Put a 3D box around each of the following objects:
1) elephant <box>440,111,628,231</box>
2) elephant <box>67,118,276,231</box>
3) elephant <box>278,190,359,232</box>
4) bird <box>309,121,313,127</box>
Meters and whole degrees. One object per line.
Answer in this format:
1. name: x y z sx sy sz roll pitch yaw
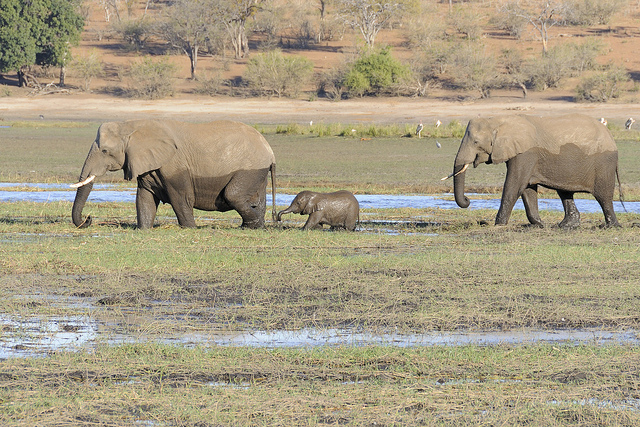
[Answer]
1. elephant: 7.324 -1.408 43.470 6.239 3.952 1.811 0 0 -8
2. elephant: -4.935 -1.200 42.882 6.961 3.753 2.500 1 8 -2
3. elephant: 0.010 -0.086 42.990 2.853 1.471 1.218 0 8 -10
4. bird: -0.514 -5.215 72.141 0.161 0.233 0.460 -1 -1 -6
